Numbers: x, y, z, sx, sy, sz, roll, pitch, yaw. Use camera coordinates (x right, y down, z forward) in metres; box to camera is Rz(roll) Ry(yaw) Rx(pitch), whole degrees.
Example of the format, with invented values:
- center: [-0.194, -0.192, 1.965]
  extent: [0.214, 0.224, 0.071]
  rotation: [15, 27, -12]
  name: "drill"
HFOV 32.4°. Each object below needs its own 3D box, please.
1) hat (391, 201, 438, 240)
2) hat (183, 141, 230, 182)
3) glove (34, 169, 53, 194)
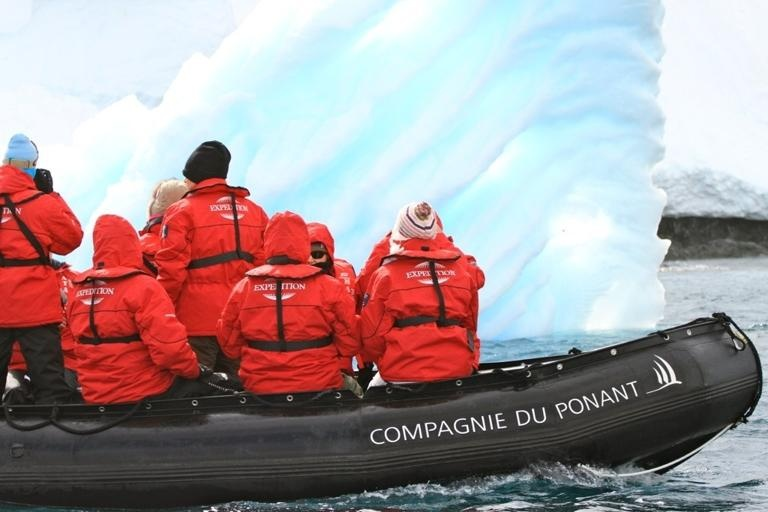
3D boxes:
- center: [0.357, -0.392, 15.334]
  extent: [0.437, 0.248, 0.526]
  rotation: [-6, 1, -12]
  name: "hat"
- center: [-2.013, -1.124, 15.844]
  extent: [0.602, 0.438, 0.441]
  rotation: [13, -1, 29]
  name: "hat"
- center: [-4.079, -0.893, 15.918]
  extent: [0.252, 0.266, 0.097]
  rotation: [-11, -3, -44]
  name: "glove"
